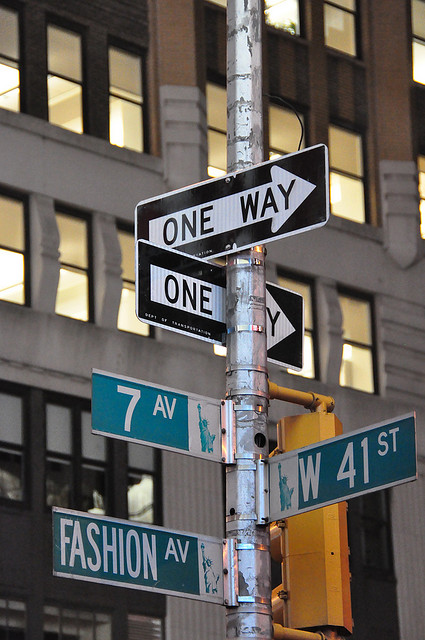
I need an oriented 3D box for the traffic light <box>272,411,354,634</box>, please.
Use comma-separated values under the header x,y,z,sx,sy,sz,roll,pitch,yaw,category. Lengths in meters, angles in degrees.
x,y,z,sx,sy,sz,roll,pitch,yaw,category
0.598,1.231,11.438,0.481,1.469,0.482,-3,-15,3,traffic light
